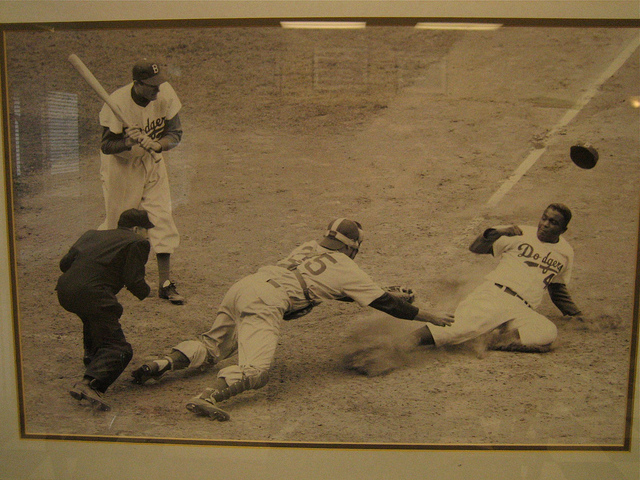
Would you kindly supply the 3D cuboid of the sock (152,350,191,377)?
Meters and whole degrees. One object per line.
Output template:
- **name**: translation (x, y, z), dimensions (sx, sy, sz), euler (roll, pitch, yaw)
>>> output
- **sock**: translation (-0.856, 0.712, 5.511), dimensions (0.192, 0.070, 0.122), euler (-17, 70, -10)

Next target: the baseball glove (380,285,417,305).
- **baseball glove**: translation (0.455, 0.296, 5.561), dimensions (0.161, 0.070, 0.116), euler (36, 49, 22)

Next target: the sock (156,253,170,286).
- **sock**: translation (-0.925, 0.173, 5.615), dimensions (0.069, 0.183, 0.094), euler (2, 25, -12)

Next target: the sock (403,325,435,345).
- **sock**: translation (0.603, 0.558, 5.531), dimensions (0.150, 0.121, 0.043), euler (26, -5, 13)

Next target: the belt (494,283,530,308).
- **belt**: translation (1.112, 0.321, 5.562), dimensions (0.143, 0.033, 0.124), euler (32, -5, -22)

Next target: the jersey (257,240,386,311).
- **jersey**: translation (0.036, 0.223, 5.529), dimensions (0.440, 0.192, 0.605), euler (-32, 46, -27)

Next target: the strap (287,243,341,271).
- **strap**: translation (-0.063, 0.101, 5.549), dimensions (0.230, 0.024, 0.138), euler (-32, 58, -13)

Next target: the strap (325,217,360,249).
- **strap**: translation (0.115, -0.030, 5.545), dimensions (0.198, 0.167, 0.096), euler (39, 69, -16)
